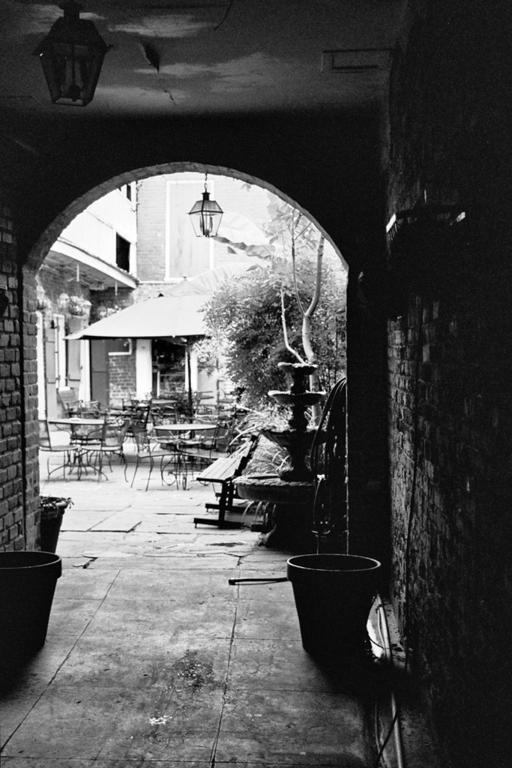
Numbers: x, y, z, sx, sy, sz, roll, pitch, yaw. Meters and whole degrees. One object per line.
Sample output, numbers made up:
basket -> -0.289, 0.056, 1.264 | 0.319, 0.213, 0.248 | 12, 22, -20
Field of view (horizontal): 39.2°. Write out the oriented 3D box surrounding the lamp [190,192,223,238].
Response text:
lamp -> -0.482, -1.678, 6.950 | 0.286, 0.446, 0.857 | 0, 0, -5

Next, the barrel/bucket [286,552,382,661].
barrel/bucket -> 0.318, 0.924, 2.945 | 0.376, 0.423, 0.404 | 0, 0, 0

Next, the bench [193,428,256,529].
bench -> -0.228, 0.774, 6.570 | 0.387, 0.869, 1.203 | 5, 4, 3

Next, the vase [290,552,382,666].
vase -> 0.329, 0.841, 2.914 | 0.340, 0.399, 0.376 | 0, -2, 25

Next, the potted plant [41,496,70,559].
potted plant -> -1.281, 0.926, 4.582 | 0.182, 0.365, 0.652 | 0, 0, -16

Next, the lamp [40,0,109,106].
lamp -> -0.561, -0.996, 2.194 | 0.212, 0.220, 0.194 | 0, 0, -9

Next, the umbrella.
umbrella -> -1.537, -0.948, 11.162 | 2.363, 2.258, 2.609 | 3, 5, 37
